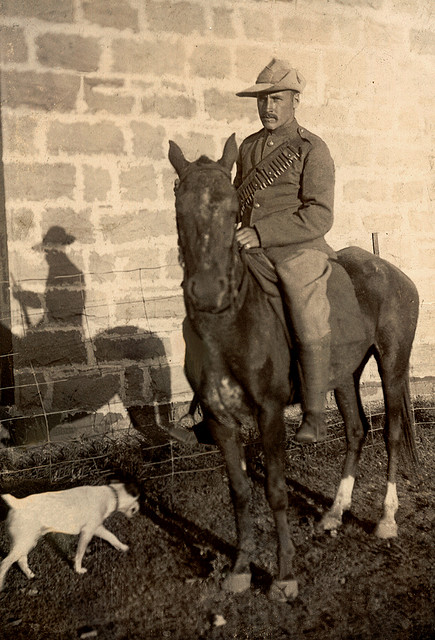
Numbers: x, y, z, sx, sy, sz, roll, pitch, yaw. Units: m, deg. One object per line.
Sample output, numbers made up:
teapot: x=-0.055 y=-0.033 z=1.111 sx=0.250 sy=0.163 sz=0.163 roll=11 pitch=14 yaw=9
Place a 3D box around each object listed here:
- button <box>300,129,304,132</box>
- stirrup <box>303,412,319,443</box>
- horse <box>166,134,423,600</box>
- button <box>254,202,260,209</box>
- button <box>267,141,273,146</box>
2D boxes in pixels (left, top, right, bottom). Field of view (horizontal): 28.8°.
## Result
button: x=0.576 y=-1.313 z=5.820 sx=0.020 sy=0.021 sz=0.005 roll=-1 pitch=-21 yaw=-2
stirrup: x=0.600 y=0.696 z=5.490 sx=0.100 sy=0.199 sz=0.084 roll=-4 pitch=9 yaw=16
horse: x=0.528 y=0.241 z=5.691 sx=0.708 sy=2.975 sz=2.033 roll=1 pitch=12 yaw=41
button: x=0.268 y=-0.801 z=5.887 sx=0.037 sy=0.038 sz=0.009 roll=0 pitch=-9 yaw=14
button: x=0.365 y=-1.238 z=5.891 sx=0.033 sy=0.034 sz=0.009 roll=-3 pitch=-15 yaw=3
